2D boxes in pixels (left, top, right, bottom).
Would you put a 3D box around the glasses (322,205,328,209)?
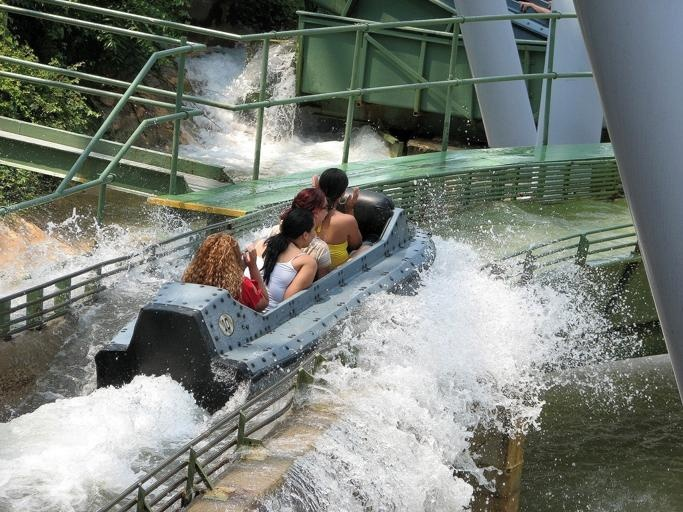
[{"bbox_3d":[-0.131,-0.383,5.373,0.036,0.022,0.054,1,4,9],"label":"glasses"}]
